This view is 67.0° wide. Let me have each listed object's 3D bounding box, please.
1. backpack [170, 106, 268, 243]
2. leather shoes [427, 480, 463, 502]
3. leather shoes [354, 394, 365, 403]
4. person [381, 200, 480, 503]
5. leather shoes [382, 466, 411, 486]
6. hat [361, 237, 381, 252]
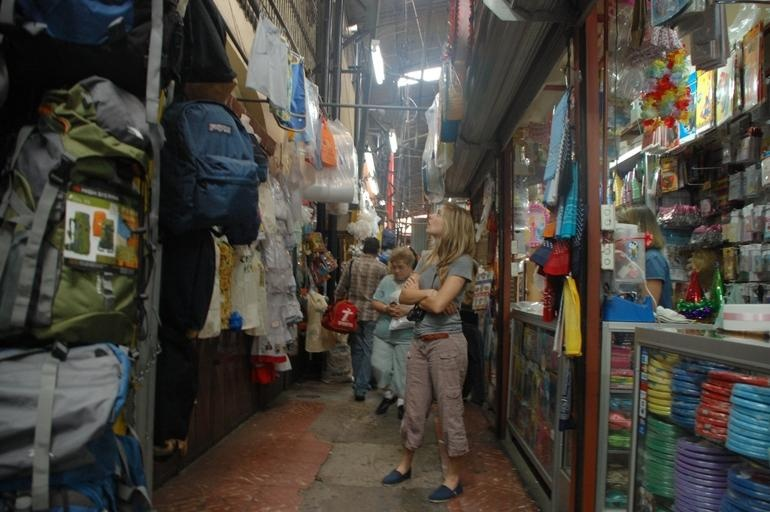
[{"bbox_3d":[-1.181,-0.596,3.930,0.604,0.907,0.383,1,1,-20],"label":"backpack"},{"bbox_3d":[0.488,1.903,4.700,0.240,0.089,0.122,4,-12,-34],"label":"leather shoes"},{"bbox_3d":[-0.341,1.870,7.658,0.140,0.077,0.110,1,1,-5],"label":"leather shoes"},{"bbox_3d":[0.417,0.761,4.902,0.649,2.421,0.558,2,1,11],"label":"person"},{"bbox_3d":[0.101,1.892,4.971,0.221,0.088,0.103,9,-14,-35],"label":"leather shoes"},{"bbox_3d":[-0.210,-0.156,8.273,0.158,0.221,0.211,2,15,1],"label":"hat"}]
